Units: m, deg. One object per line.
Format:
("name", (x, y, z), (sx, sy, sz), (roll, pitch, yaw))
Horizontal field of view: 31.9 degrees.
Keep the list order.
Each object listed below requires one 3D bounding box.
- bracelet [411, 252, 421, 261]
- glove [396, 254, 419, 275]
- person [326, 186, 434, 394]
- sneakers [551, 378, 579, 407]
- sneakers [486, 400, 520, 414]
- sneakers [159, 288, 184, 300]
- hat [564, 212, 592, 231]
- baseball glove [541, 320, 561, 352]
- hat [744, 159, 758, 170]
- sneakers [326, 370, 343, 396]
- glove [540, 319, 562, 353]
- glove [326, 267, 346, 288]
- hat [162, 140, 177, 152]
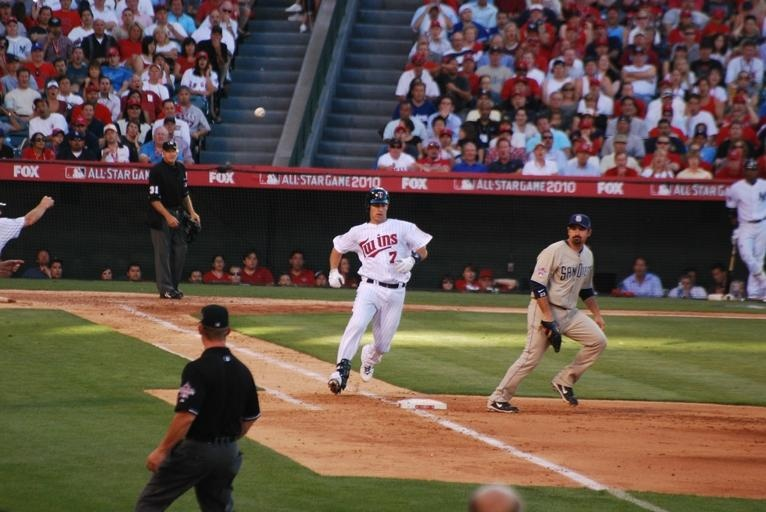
("bracelet", (0.580, 0.003, 22.670), (0.110, 0.138, 0.139), (-20, 7, -20))
("glove", (0.441, 0.108, 22.504), (0.262, 0.306, 0.460), (5, -1, 17))
("person", (-0.104, 0.564, 22.518), (1.590, 3.463, 1.173), (6, 0, -20))
("sneakers", (3.038, 2.232, 21.976), (0.293, 0.580, 0.214), (-31, -32, -12))
("sneakers", (1.937, 2.414, 21.593), (0.469, 0.191, 0.190), (1, 1, 2))
("sneakers", (-4.217, 0.755, 27.031), (0.425, 0.175, 0.193), (-3, -2, 23))
("hat", (3.247, -0.563, 21.975), (0.317, 0.259, 0.587), (5, -1, 12))
("baseball glove", (2.767, 1.237, 21.686), (0.271, 0.585, 0.224), (-16, 6, 10))
("hat", (8.111, -2.029, 29.502), (0.292, 0.233, 0.189), (4, -1, 41))
("sneakers", (-0.743, 2.063, 21.797), (0.172, 0.187, 0.421), (2, -45, -1))
("glove", (2.755, 1.241, 21.688), (0.271, 0.602, 0.227), (-17, 5, 7))
("glove", (-0.775, 0.351, 22.730), (0.308, 0.331, 0.149), (0, 3, -8))
("hat", (-4.166, -2.189, 26.497), (0.261, 0.200, 0.424), (5, -1, -8))
